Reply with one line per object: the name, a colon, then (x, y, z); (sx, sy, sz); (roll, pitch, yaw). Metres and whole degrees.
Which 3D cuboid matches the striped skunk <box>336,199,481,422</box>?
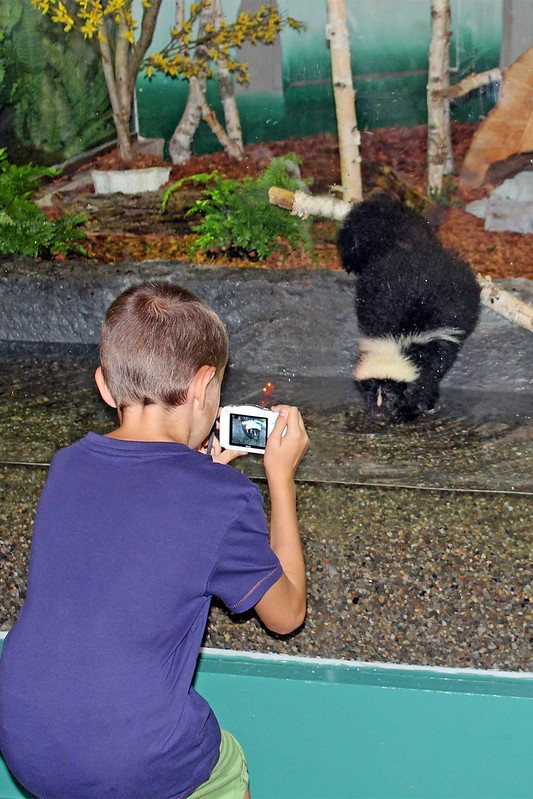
striped skunk: (0.490, -0.443, 3.128); (0.628, 0.773, 0.576); (9, 16, 26)
